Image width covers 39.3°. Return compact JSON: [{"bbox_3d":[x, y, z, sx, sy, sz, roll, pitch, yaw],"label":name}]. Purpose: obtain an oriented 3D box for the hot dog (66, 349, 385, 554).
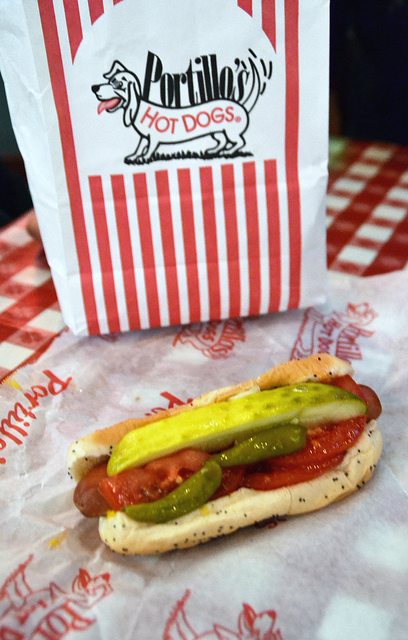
[{"bbox_3d":[0.119,0.533,1.953,0.955,0.346,0.515,-17,45,-9],"label":"hot dog"}]
